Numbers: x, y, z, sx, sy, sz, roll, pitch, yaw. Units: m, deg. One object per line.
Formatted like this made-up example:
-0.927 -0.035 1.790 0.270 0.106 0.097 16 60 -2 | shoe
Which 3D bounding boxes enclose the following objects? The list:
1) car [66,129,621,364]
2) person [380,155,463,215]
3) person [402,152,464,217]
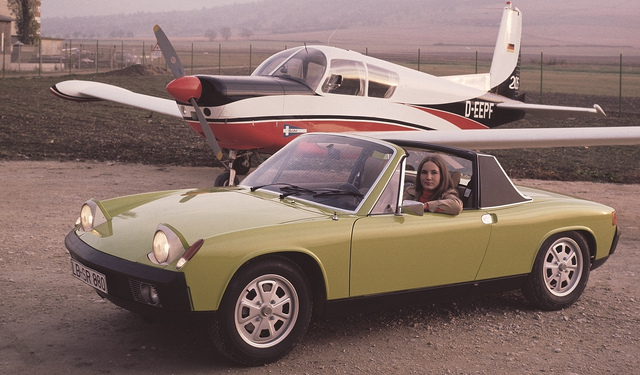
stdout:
0.515 0.628 7.065 6.814 2.107 2.944 3 3 -26 | car
1.342 0.001 6.814 0.959 0.490 0.825 3 6 -41 | person
1.512 -0.039 7.199 0.751 0.727 1.049 6 0 -40 | person
